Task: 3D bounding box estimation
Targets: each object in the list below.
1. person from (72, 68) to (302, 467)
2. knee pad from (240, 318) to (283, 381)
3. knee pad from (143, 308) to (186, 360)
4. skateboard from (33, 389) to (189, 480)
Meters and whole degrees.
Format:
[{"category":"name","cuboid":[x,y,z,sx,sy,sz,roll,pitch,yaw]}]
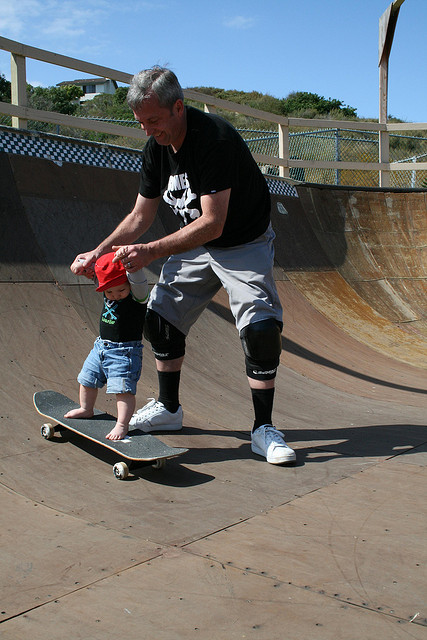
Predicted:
[{"category":"person","cuboid":[-0.095,-0.224,2.604,1.023,1.696,1.038,-7,10,-39]},{"category":"knee pad","cuboid":[0.231,0.105,2.628,0.185,0.232,0.134,-13,11,-7]},{"category":"knee pad","cuboid":[-0.233,0.068,2.765,0.197,0.251,0.088,1,7,-6]},{"category":"skateboard","cuboid":[-0.490,0.469,2.439,0.360,0.208,0.803,-3,8,-39]}]
